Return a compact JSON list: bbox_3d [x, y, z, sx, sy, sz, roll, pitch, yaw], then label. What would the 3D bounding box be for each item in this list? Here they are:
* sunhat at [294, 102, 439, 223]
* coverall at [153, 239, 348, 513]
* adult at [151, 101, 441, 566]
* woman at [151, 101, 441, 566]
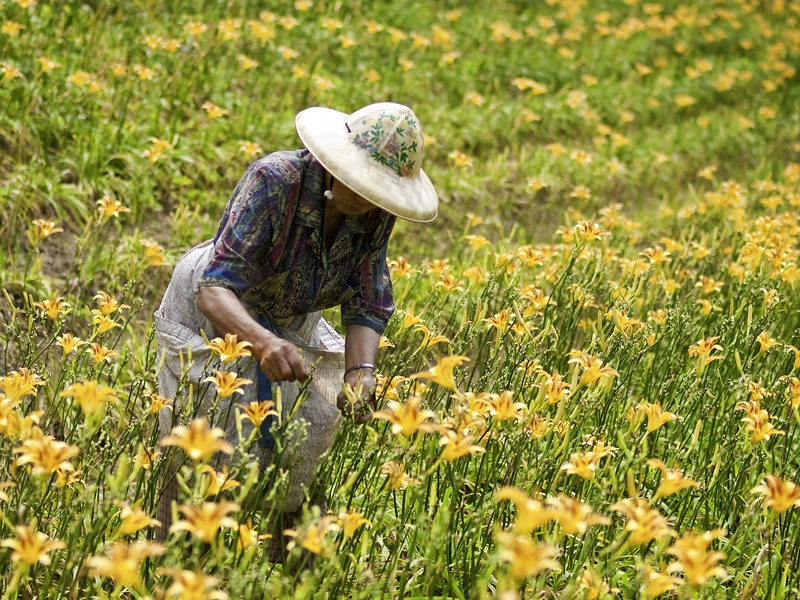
[{"bbox_3d":[-0.136,-0.770,6.635,0.662,0.308,0.668,44,24,2],"label":"sunhat"},{"bbox_3d":[-0.849,0.552,7.010,1.141,0.839,1.691,14,53,-23],"label":"coverall"},{"bbox_3d":[-0.612,0.118,6.719,1.320,2.608,0.892,12,12,-12],"label":"adult"},{"bbox_3d":[-0.610,0.118,6.721,1.321,2.608,0.886,12,12,-12],"label":"woman"}]
